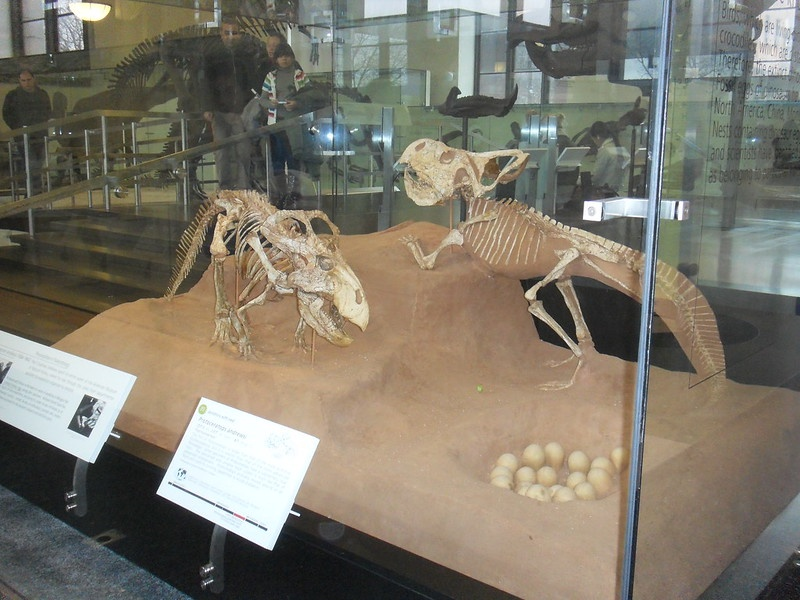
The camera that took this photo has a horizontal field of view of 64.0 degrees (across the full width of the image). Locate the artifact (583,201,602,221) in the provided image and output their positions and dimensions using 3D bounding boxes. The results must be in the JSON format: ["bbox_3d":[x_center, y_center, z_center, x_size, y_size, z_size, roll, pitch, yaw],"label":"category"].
[{"bbox_3d":[0.471,-0.221,1.578,0.045,0.047,0.046,3,11,25],"label":"artifact"}]

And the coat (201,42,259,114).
[{"bbox_3d":[-0.778,-1.025,2.901,0.270,0.374,0.197,1,11,-9],"label":"coat"}]

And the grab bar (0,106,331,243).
[{"bbox_3d":[-1.176,-0.607,3.059,2.245,0.099,0.119,-16,46,-4],"label":"grab bar"}]

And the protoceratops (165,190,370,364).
[{"bbox_3d":[-0.705,-0.137,3.190,1.286,0.769,0.523,19,25,28],"label":"protoceratops"}]

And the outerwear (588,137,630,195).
[{"bbox_3d":[0.760,-0.484,2.310,0.127,0.194,0.050,6,17,19],"label":"outerwear"}]

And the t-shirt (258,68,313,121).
[{"bbox_3d":[-0.560,-0.979,3.073,0.192,0.257,0.075,10,7,7],"label":"t-shirt"}]
